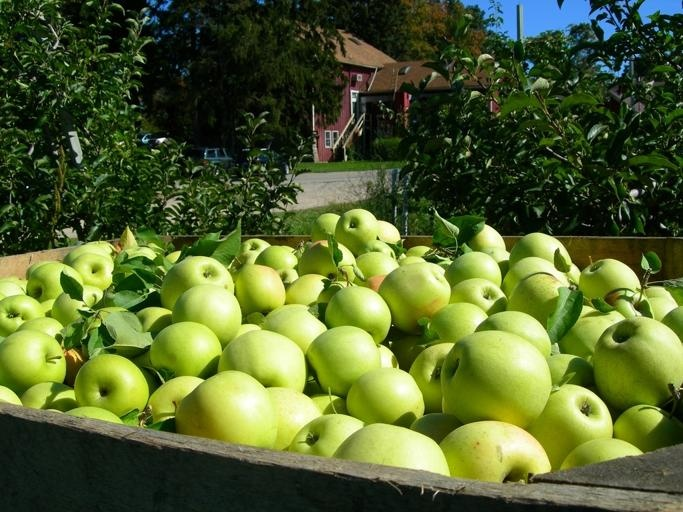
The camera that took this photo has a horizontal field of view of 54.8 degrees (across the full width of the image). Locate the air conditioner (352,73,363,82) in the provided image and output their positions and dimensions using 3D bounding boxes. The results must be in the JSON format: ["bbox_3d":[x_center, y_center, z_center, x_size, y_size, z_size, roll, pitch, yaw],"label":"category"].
[{"bbox_3d":[1.205,-13.532,50.855,0.447,0.607,0.899,4,7,24],"label":"air conditioner"}]
